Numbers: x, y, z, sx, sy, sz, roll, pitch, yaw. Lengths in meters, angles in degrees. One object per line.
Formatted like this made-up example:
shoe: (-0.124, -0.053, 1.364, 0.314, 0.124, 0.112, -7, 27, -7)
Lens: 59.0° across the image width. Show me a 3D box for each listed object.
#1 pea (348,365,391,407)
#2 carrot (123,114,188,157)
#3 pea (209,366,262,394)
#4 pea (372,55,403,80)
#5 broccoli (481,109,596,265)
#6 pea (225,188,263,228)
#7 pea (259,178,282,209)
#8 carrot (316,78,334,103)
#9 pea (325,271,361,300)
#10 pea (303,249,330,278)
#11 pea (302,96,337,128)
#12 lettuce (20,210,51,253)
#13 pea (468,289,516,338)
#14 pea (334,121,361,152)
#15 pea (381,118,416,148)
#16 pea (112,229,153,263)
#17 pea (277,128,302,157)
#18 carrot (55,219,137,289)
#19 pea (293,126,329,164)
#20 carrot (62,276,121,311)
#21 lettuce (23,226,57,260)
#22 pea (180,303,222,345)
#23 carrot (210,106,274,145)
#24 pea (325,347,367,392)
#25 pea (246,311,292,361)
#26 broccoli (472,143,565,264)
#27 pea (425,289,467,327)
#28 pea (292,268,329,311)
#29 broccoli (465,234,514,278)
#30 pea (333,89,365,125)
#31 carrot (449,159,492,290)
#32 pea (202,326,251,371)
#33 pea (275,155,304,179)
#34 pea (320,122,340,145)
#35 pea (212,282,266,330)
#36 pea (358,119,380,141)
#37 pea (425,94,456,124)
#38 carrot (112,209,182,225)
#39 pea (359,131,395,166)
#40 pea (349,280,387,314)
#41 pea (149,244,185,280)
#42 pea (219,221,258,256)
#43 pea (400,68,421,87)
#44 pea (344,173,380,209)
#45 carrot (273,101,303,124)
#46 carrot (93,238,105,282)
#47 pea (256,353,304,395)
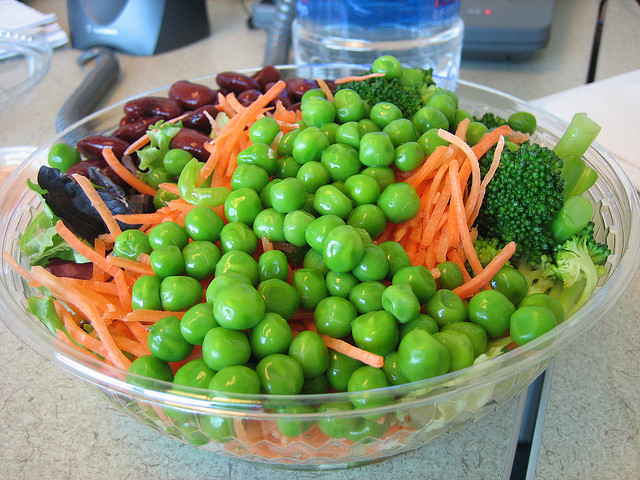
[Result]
pea: (0.097, 0.272, 1.055, 0.065, 0.092, 0.072, -12, 65, 32)
carrot: (-0.413, -0.263, 1.429, 0.176, 0.029, 0.024, -38, 38, -10)
pea: (-0.142, 0.231, 0.998, 0.060, 0.037, 0.054, 17, 9, 39)
pea: (0.178, -0.448, 1.519, 0.064, 0.081, 0.068, 15, 44, 24)
broccoli: (0.543, -0.191, 1.320, 0.267, 0.162, 0.145, -42, 88, -5)
pea: (-0.165, -0.069, 1.195, 0.069, 0.073, 0.078, 0, 90, 15)
pea: (-0.107, -0.104, 1.272, 0.041, 0.058, 0.049, 1, 29, 10)
carrot: (0.010, -0.401, 1.481, 0.024, 0.016, 0.109, -1, 42, -21)
pea: (0.044, 0.087, 1.127, 0.058, 0.047, 0.050, 7, 73, 8)
pea: (-0.008, 0.048, 1.163, 0.026, 0.051, 0.055, -2, 83, -39)
pea: (-0.004, -0.312, 1.360, 0.080, 0.069, 0.063, 9, 15, -14)
lettuce: (-0.660, -0.027, 1.329, 0.049, 0.025, 0.100, 20, 51, -18)
pea: (0.344, 0.147, 1.175, 0.084, 0.093, 0.087, -3, 47, -4)
pea: (0.076, -0.234, 1.288, 0.030, 0.050, 0.051, 6, 14, -16)
pea: (0.192, -0.251, 1.320, 0.061, 0.072, 0.070, 9, 89, -7)
pea: (-0.403, 0.003, 1.221, 0.083, 0.068, 0.054, 16, 88, 46)
pea: (-0.078, -0.227, 1.351, 0.036, 0.065, 0.050, 38, 17, -17)
carrot: (-0.476, 0.031, 1.208, 0.039, 0.025, 0.172, -42, 80, -10)
pea: (-0.021, -0.218, 1.278, 0.081, 0.070, 0.066, -15, 27, 0)
carrot: (-0.468, 0.112, 1.151, 0.080, 0.017, 0.022, 39, 62, 15)
lettuce: (-0.632, 0.005, 1.272, 0.078, 0.046, 0.037, -30, 54, -23)
pea: (-0.230, 0.155, 1.056, 0.056, 0.044, 0.079, 12, 51, -2)
carrot: (-0.186, -0.274, 1.357, 0.186, 0.028, 0.027, -37, 57, -14)
pea: (0.041, 0.246, 1.119, 0.072, 0.095, 0.076, -3, 29, -13)
pea: (-0.092, 0.180, 1.101, 0.082, 0.096, 0.074, -34, 68, -26)
broccoli: (0.451, -0.052, 1.258, 0.199, 0.122, 0.272, -5, 61, 20)
pea: (0.254, 0.133, 1.123, 0.064, 0.041, 0.070, 11, 39, 1)
pea: (-0.018, 0.095, 1.173, 0.068, 0.081, 0.078, -16, 3, 6)
broccoli: (0.377, 0.030, 1.283, 0.092, 0.033, 0.099, -9, 69, -9)
pea: (0.068, -0.322, 1.405, 0.060, 0.044, 0.086, -7, 67, 9)
carrot: (0.307, -0.040, 1.209, 0.050, 0.035, 0.371, 3, 70, -30)
pea: (-0.174, 0.201, 1.038, 0.085, 0.051, 0.069, 2, 48, 2)
pea: (-0.073, -0.166, 1.286, 0.055, 0.043, 0.045, -1, 81, -1)
pea: (0.023, -0.244, 1.302, 0.038, 0.039, 0.048, -32, 61, 13)
pea: (-0.151, 0.126, 1.047, 0.082, 0.070, 0.082, 34, 57, 27)
pea: (0.117, -0.266, 1.321, 0.047, 0.030, 0.048, 26, 56, 23)
pea: (0.308, -0.333, 1.405, 0.051, 0.065, 0.050, -16, 7, 25)
carrot: (-0.384, -0.051, 1.251, 0.127, 0.023, 0.020, -3, 62, -35)
pea: (0.125, -0.196, 1.225, 0.071, 0.071, 0.070, 0, 18, 2)
pea: (0.097, 0.122, 1.138, 0.064, 0.051, 0.055, -11, 62, 12)
pea: (-0.308, 0.044, 1.141, 0.063, 0.063, 0.060, -18, 34, -34)
pea: (-0.166, -0.005, 1.169, 0.054, 0.062, 0.076, -13, 22, 8)
pea: (0.238, -0.429, 1.500, 0.052, 0.054, 0.056, -1, 13, -1)
pea: (0.090, -0.108, 1.230, 0.059, 0.082, 0.068, -2, 6, 39)
carrot: (-0.077, -0.309, 1.394, 0.062, 0.022, 0.065, 2, 40, -31)
carrot: (-0.475, 0.045, 1.210, 0.016, 0.028, 0.129, 3, 58, -29)
pea: (-0.077, 0.255, 1.049, 0.101, 0.080, 0.082, 10, 86, -20)
